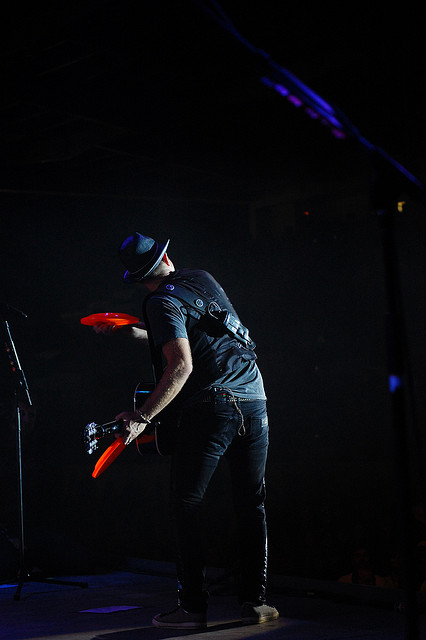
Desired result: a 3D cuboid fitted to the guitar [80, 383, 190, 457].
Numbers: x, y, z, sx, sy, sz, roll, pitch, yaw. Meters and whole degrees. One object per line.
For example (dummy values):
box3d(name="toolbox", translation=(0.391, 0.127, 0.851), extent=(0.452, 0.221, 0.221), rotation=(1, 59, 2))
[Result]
box3d(name="guitar", translation=(-0.242, 0.453, 2.684), extent=(0.494, 0.238, 0.129), rotation=(-5, 8, 25))

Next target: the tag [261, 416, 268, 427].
box3d(name="tag", translation=(0.209, 0.418, 2.826), extent=(0.005, 0.039, 0.047), rotation=(-1, -5, 24))

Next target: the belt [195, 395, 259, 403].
box3d(name="belt", translation=(0.055, 0.309, 2.702), extent=(0.224, 0.031, 0.047), rotation=(2, -5, -21))

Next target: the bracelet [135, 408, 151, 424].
box3d(name="bracelet", translation=(-0.256, 0.369, 2.609), extent=(0.058, 0.022, 0.045), rotation=(50, -1, -19))

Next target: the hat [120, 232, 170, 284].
box3d(name="hat", translation=(-0.294, -0.267, 2.854), extent=(0.097, 0.197, 0.233), rotation=(39, -49, -22))

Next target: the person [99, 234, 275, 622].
box3d(name="person", translation=(-0.072, 0.412, 2.722), extent=(0.646, 1.527, 0.382), rotation=(1, -5, 4))
